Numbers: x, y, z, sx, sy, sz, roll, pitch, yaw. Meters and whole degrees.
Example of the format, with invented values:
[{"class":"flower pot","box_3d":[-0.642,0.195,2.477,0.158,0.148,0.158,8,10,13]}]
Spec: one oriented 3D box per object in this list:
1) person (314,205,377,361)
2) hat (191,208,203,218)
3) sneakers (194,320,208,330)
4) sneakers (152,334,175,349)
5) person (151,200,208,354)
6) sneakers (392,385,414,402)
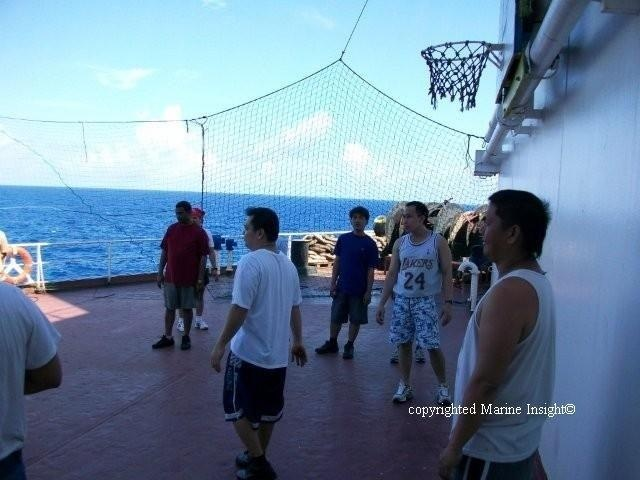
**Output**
[{"class":"person","box_3d":[0.410,0.572,6.654,0.755,2.076,0.595,4,6,20]},{"class":"hat","box_3d":[-2.098,-0.449,8.154,0.204,0.114,0.295,0,9,-11]},{"class":"sneakers","box_3d":[-1.913,1.381,7.770,0.123,0.121,0.255,0,1,-43]},{"class":"sneakers","box_3d":[-2.192,1.451,6.729,0.259,0.162,0.134,4,-3,-22]},{"class":"person","box_3d":[-1.937,0.482,6.733,0.754,2.048,0.519,1,5,-9]},{"class":"sneakers","box_3d":[0.883,1.660,5.167,0.108,0.133,0.270,-6,-12,28]}]
